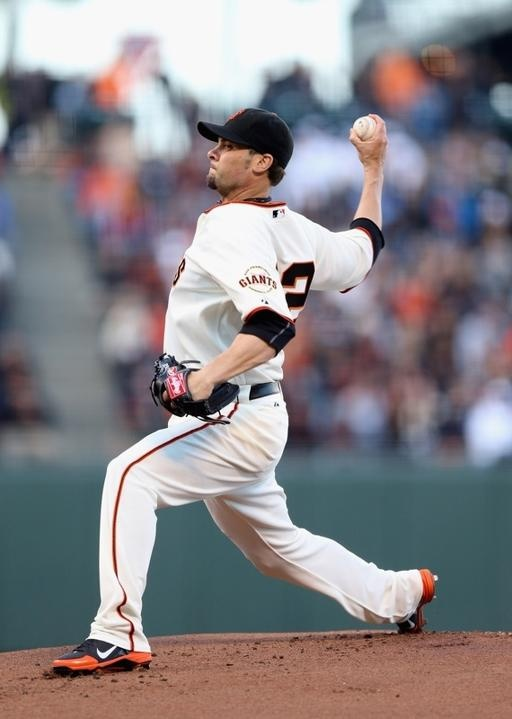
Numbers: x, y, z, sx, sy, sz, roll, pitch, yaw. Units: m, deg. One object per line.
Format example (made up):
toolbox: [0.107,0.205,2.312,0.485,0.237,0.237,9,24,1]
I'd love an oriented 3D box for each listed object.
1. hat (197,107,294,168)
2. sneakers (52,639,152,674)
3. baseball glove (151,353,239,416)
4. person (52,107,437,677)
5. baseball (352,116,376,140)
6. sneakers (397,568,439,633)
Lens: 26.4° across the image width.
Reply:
hat: [-0.020,-0.722,3.418,0.319,0.143,0.183,20,7,-21]
sneakers: [-0.438,0.832,3.087,0.266,0.101,0.094,4,-6,-15]
baseball glove: [-0.147,0.076,3.097,0.315,0.101,0.220,-4,11,33]
person: [0.067,0.163,3.366,0.932,1.630,1.535,8,32,9]
baseball: [0.392,-0.814,3.813,0.096,0.081,0.046,0,-13,11]
sneakers: [0.553,0.837,3.760,0.118,0.256,0.095,-2,16,-32]
